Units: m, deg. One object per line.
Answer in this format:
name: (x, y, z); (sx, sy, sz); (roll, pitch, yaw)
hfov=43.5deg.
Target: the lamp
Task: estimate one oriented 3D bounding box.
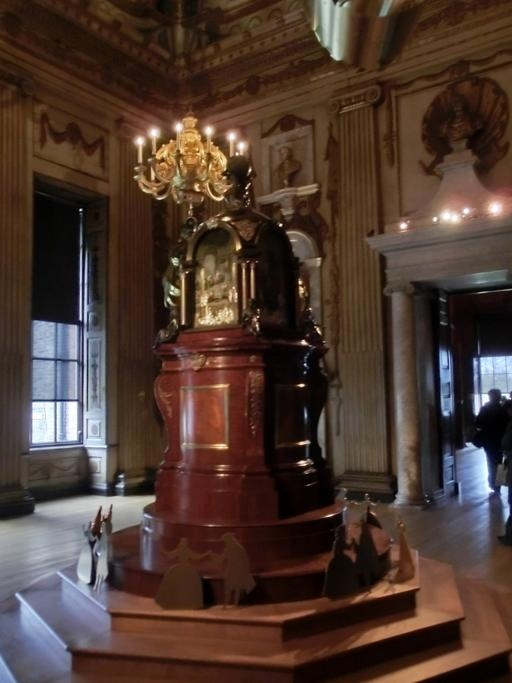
lamp: (-0.552, -1.478, 5.401); (0.862, 0.783, 0.888); (-4, -1, 41)
